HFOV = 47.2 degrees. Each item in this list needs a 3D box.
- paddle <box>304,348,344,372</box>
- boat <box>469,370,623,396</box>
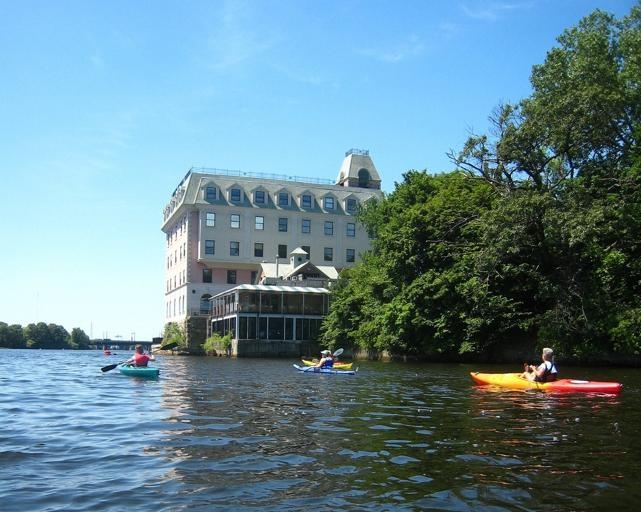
[{"bbox_3d":[-0.327,5.111,35.889,2.923,1.028,0.921,-6,-8,32],"label":"paddle"},{"bbox_3d":[7.298,4.207,24.339,1.557,0.674,4.955,5,-12,-33],"label":"boat"}]
